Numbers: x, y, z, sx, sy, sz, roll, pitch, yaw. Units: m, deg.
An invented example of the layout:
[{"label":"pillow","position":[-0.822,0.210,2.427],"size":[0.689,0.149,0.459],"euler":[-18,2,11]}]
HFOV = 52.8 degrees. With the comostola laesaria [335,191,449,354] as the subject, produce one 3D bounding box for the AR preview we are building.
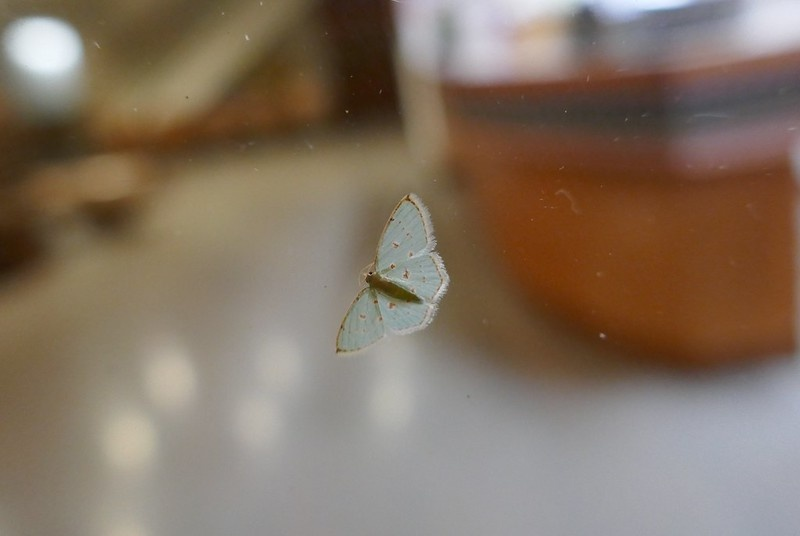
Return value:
[{"label":"comostola laesaria","position":[-0.002,0.056,1.863],"size":[0.195,0.105,0.366],"euler":[31,79,6]}]
